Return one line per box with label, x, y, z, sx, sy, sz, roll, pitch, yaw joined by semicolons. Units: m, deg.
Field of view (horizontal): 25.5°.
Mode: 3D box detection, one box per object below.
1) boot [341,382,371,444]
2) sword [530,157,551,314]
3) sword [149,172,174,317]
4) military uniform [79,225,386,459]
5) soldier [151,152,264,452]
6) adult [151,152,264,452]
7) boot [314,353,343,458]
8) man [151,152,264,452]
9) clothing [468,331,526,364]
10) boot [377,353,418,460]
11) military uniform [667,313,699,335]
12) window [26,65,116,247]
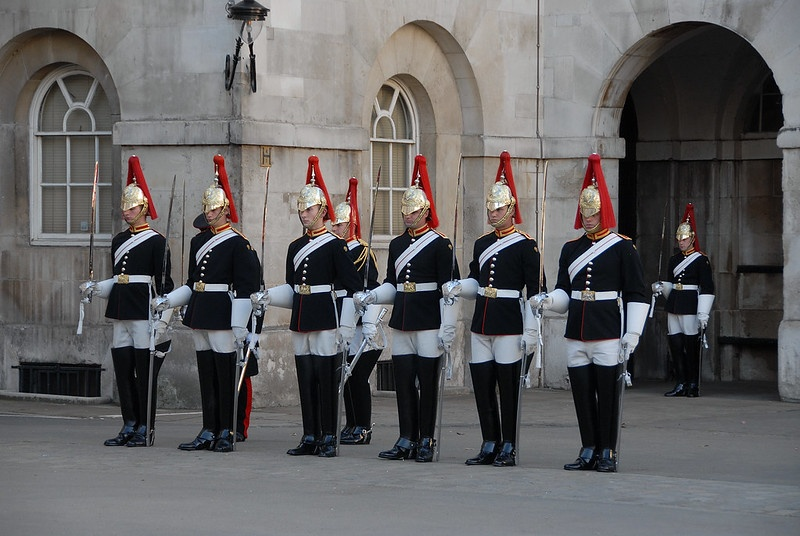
boot;-0.468;1.592;19.082;0.444;0.572;0.237;5;22;38
sword;1.584;-0.522;20.329;0.310;2.437;0.185;0;-4;5
sword;-2.538;-0.315;19.112;0.415;1.470;0.120;3;-6;-9
military uniform;-1.725;0.826;18.872;1.669;3.236;1.303;-15;-23;37
soldier;-1.904;0.365;18.364;0.931;3.069;0.506;-1;-1;1
adult;-1.903;0.365;18.360;0.930;3.069;0.499;-1;-1;0
boot;-0.724;1.415;18.009;0.256;0.695;0.227;-1;-1;-3
man;-1.904;0.365;18.364;0.932;3.069;0.506;-1;-1;1
clothing;0.946;0.891;17.896;0.518;0.511;0.307;-2;-6;34
boot;-0.013;1.428;18.039;0.399;0.735;0.291;-1;-1;-2
military uniform;3.629;0.773;22.981;0.276;0.447;0.355;7;-12;-17
window;-3.939;-1.388;21.745;1.041;2.133;0.187;0;4;1
